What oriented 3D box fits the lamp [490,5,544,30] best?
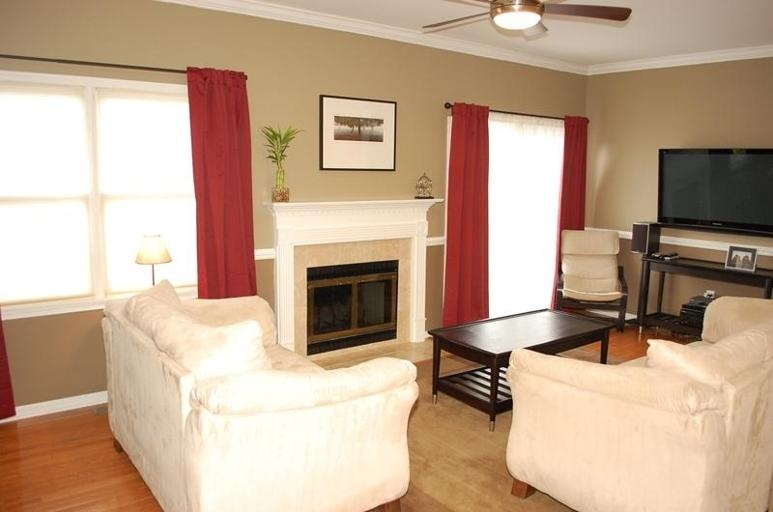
[{"bbox_3d":[0.916,-1.695,3.829,0.354,0.105,0.251,1,10,12],"label":"lamp"}]

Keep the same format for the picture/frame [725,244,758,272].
[{"bbox_3d":[4.073,0.031,6.262,0.292,0.254,0.309,6,13,35],"label":"picture/frame"}]

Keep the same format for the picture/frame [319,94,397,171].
[{"bbox_3d":[-0.335,-1.340,5.832,0.914,0.695,0.034,-2,5,-31],"label":"picture/frame"}]

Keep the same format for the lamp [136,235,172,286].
[{"bbox_3d":[-2.089,0.049,4.888,0.275,0.477,0.372,-7,12,-26],"label":"lamp"}]

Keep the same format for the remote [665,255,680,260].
[{"bbox_3d":[3.517,0.017,6.721,0.101,0.025,0.102,-5,8,-15],"label":"remote"}]

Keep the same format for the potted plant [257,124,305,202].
[{"bbox_3d":[-1.003,-0.921,5.423,0.394,0.748,0.235,-7,13,-25],"label":"potted plant"}]

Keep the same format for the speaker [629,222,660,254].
[{"bbox_3d":[3.346,-0.231,6.936,0.414,0.393,0.258,-1,11,0],"label":"speaker"}]
